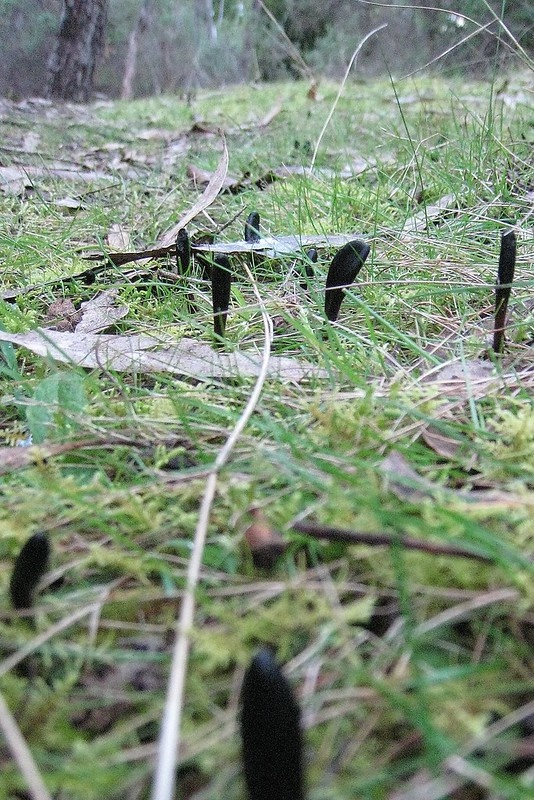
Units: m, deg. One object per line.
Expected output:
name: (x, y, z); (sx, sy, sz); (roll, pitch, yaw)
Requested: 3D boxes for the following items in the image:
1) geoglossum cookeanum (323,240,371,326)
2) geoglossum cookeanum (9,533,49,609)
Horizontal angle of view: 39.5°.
geoglossum cookeanum: (0.107, -0.189, 1.161); (0.050, 0.160, 0.047); (23, 36, 9)
geoglossum cookeanum: (-0.230, 0.162, 0.708); (0.029, 0.095, 0.026); (15, 33, -3)
